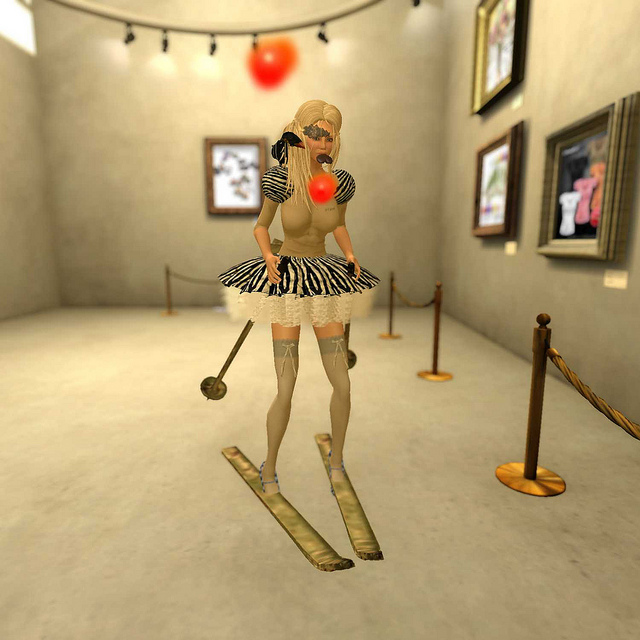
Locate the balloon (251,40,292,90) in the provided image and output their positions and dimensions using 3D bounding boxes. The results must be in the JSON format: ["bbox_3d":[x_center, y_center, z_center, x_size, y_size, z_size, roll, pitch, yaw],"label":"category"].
[{"bbox_3d":[-0.691,-3.653,7.407,0.564,0.712,0.494,-6,0,1],"label":"balloon"}]

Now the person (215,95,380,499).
[{"bbox_3d":[-0.070,-0.064,2.207,0.617,1.677,0.526,-1,2,-19],"label":"person"}]

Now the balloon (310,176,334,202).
[{"bbox_3d":[0.001,-0.519,2.092,0.094,0.093,0.054,-51,15,-20],"label":"balloon"}]

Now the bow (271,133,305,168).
[{"bbox_3d":[-0.142,-0.694,2.088,0.080,0.132,0.146,-12,17,-42],"label":"bow"}]
